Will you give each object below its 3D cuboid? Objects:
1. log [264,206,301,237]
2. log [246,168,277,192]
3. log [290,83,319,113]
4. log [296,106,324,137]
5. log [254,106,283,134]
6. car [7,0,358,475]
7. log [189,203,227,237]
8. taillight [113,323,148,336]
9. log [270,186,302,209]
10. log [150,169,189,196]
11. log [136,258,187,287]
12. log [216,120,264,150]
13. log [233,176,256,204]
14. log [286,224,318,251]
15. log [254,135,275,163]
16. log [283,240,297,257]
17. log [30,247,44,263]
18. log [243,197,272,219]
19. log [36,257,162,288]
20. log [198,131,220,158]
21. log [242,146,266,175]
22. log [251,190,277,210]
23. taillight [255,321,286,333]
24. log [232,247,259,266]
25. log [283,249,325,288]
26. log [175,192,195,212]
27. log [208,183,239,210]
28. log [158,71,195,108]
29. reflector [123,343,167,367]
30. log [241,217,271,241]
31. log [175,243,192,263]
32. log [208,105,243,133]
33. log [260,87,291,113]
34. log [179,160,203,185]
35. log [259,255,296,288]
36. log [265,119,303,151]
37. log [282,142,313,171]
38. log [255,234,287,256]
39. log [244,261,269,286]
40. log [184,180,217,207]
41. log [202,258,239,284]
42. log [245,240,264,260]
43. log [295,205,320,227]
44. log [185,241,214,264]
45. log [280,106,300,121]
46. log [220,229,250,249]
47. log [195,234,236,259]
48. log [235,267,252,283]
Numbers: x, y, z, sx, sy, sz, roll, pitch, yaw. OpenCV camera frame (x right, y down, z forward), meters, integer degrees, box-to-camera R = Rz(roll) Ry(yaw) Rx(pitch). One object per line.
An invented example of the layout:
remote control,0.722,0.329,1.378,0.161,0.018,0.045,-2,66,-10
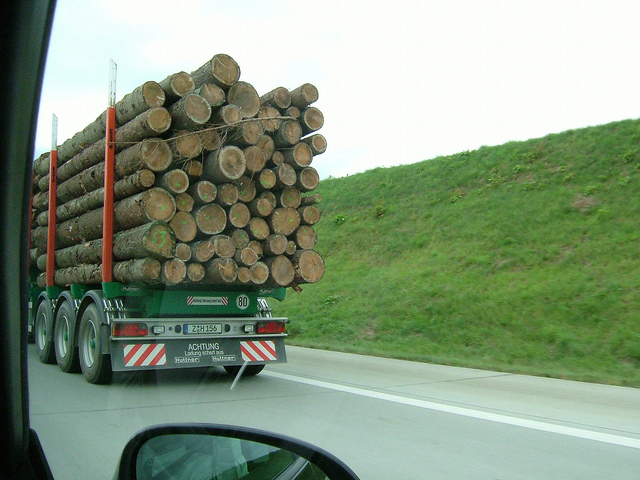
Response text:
log,-0.657,-0.307,8.894,0.502,0.534,0.555,16,0,-12
log,-1.033,-1.039,8.700,0.391,0.392,0.435,43,-21,-5
log,-0.280,-2.610,9.165,0.445,0.424,0.630,-4,3,-31
log,-0.182,-2.210,9.258,0.470,0.489,0.514,0,-2,-25
log,-0.887,-2.163,8.682,0.429,0.433,0.098,41,-33,-23
car,-1.127,0.551,3.680,1.079,2.020,3.505,4,-5,-29
log,-1.894,-0.329,8.208,0.516,0.545,0.531,9,1,-19
taillight,-2.902,1.385,7.538,0.484,0.194,0.054,3,-5,-20
log,-0.641,-0.770,9.113,0.415,0.457,0.474,9,2,-12
log,-2.288,-0.909,7.893,0.433,0.431,0.689,16,8,-9
log,-2.393,0.572,7.565,0.493,0.515,0.562,9,-4,-9
log,-1.290,-1.711,8.363,0.523,0.555,0.898,5,-4,-20
log,-1.278,-0.872,8.441,0.156,0.416,0.404,-5,9,40
log,-0.352,-0.021,9.325,0.483,0.493,0.528,1,-6,-27
log,-0.961,-1.628,8.682,0.086,0.389,0.383,1,-2,41
log,-0.537,0.158,8.961,0.240,0.261,0.274,3,-10,-24
log,-6.204,0.334,10.823,0.258,0.180,0.317,-16,-25,38
log,-1.102,-0.574,8.657,0.363,0.362,0.395,20,-1,-12
log,-3.776,0.572,8.534,2.581,0.494,0.422,-7,1,43
log,-1.790,-1.583,8.068,0.381,0.392,0.090,7,-3,-39
log,-1.121,-1.345,8.362,0.422,0.440,0.311,-4,-1,-25
log,-0.996,-0.690,8.803,0.314,0.327,0.356,5,-6,-18
taillight,-0.872,1.563,8.748,0.627,0.202,0.087,6,-7,-41
log,-1.276,0.293,8.420,0.315,0.321,0.499,-23,-2,-16
log,-0.270,0.516,9.277,0.682,0.702,0.743,23,-11,-24
log,-2.171,-0.616,7.876,0.275,0.286,0.208,6,10,-14
log,-1.623,-0.739,8.285,0.373,0.386,0.407,-3,-4,-29
log,-2.287,-2.489,8.086,0.456,0.512,0.733,3,9,-21
reflector,-2.678,1.780,7.524,0.619,0.334,0.105,3,-5,-25
log,-1.135,-0.170,8.745,0.363,0.427,0.408,5,-5,-26
log,-2.198,0.201,7.902,0.262,0.271,0.258,-18,6,-19
log,-1.529,-1.984,8.136,0.472,0.479,0.525,19,-3,-17
log,-0.789,-2.538,8.968,0.455,0.453,0.721,12,3,-22
log,-2.065,-1.110,8.099,0.333,0.359,0.377,-19,9,-20
log,-0.809,0.567,8.972,0.545,0.574,0.605,3,-2,-17
log,-0.670,-1.864,8.935,0.515,0.538,0.588,-2,-1,-25
log,-0.394,-1.543,9.162,0.555,0.581,0.617,-5,4,-28
log,-0.832,0.080,8.694,0.386,0.402,0.438,7,3,-8
log,-1.064,0.618,8.537,0.355,0.370,0.402,12,-16,-20
log,-1.878,-0.769,7.980,0.412,0.423,0.462,39,-17,-11
log,-1.589,0.490,8.116,0.451,0.442,0.733,8,6,-12
log,-1.136,0.180,8.651,0.067,0.301,0.295,-14,-16,39
log,-0.253,-0.501,9.267,0.376,0.388,0.413,12,1,-21
log,-1.864,0.177,8.014,0.374,0.374,0.602,7,5,-9
log,-0.555,-2.310,9.097,0.297,0.309,0.330,3,-4,-25
log,-1.417,0.000,8.348,0.334,0.349,0.381,0,-2,-19
log,-1.726,0.167,8.129,0.458,0.460,0.499,12,-10,-26
log,-1.295,0.601,8.354,0.244,0.254,0.244,-1,-8,-25
